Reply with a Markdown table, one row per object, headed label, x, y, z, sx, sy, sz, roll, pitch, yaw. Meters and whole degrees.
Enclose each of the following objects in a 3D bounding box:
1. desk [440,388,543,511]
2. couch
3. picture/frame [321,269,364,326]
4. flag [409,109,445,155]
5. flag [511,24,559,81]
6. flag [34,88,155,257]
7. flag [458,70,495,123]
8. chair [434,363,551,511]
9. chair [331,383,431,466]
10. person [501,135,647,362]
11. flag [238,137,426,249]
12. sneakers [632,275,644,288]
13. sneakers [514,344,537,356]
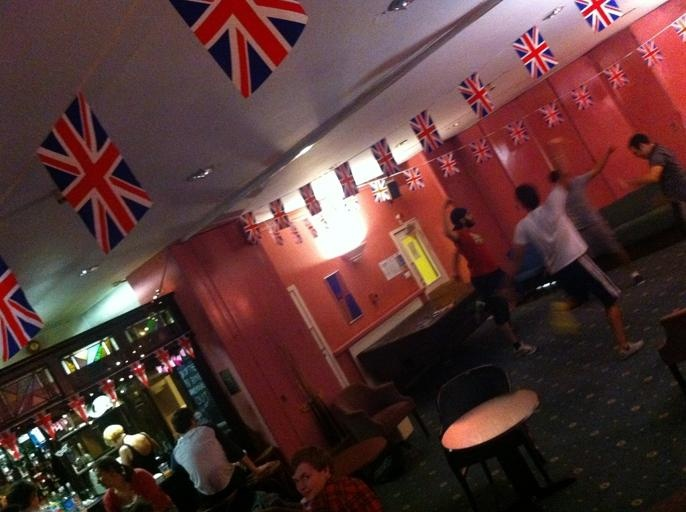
| label | x | y | z | sx | sy | sz | roll | pitch | yaw |
| --- | --- | --- | --- | --- | --- | --- | --- | --- | --- |
| desk | 1.242 | 1.602 | 4.396 | 0.854 | 0.635 | 0.790 | -34 | 5 | -18 |
| couch | 2.975 | -0.082 | 6.068 | 1.096 | 1.364 | 0.436 | -45 | 18 | 6 |
| picture/frame | 0.013 | 0.665 | 8.406 | 0.076 | 0.849 | 0.421 | -30 | -5 | 36 |
| flag | 0.973 | -1.485 | 6.187 | 0.243 | 0.542 | 0.324 | -28 | -4 | 13 |
| flag | 1.943 | -2.072 | 5.330 | 0.270 | 0.586 | 0.203 | -30 | -5 | 33 |
| flag | -1.720 | -0.618 | 3.595 | 0.772 | 0.940 | 0.044 | -40 | 4 | 12 |
| flag | 1.421 | -1.716 | 5.590 | 0.220 | 0.538 | 0.185 | -28 | -4 | 14 |
| chair | 1.323 | 1.658 | 4.627 | 0.908 | 1.137 | 0.814 | -23 | -8 | -7 |
| chair | 0.390 | 1.958 | 6.470 | 0.952 | 1.097 | 0.835 | -31 | -12 | 39 |
| person | 2.394 | 0.103 | 5.517 | 0.746 | 2.238 | 1.024 | -29 | -5 | 24 |
| flag | -0.279 | -0.884 | 7.691 | 1.980 | 0.610 | 1.969 | -36 | 15 | -11 |
| sneakers | 3.560 | 0.314 | 6.356 | 0.127 | 0.133 | 0.132 | -8 | -17 | 33 |
| sneakers | 2.152 | 1.100 | 6.240 | 0.270 | 0.118 | 0.127 | -6 | 23 | 38 |
